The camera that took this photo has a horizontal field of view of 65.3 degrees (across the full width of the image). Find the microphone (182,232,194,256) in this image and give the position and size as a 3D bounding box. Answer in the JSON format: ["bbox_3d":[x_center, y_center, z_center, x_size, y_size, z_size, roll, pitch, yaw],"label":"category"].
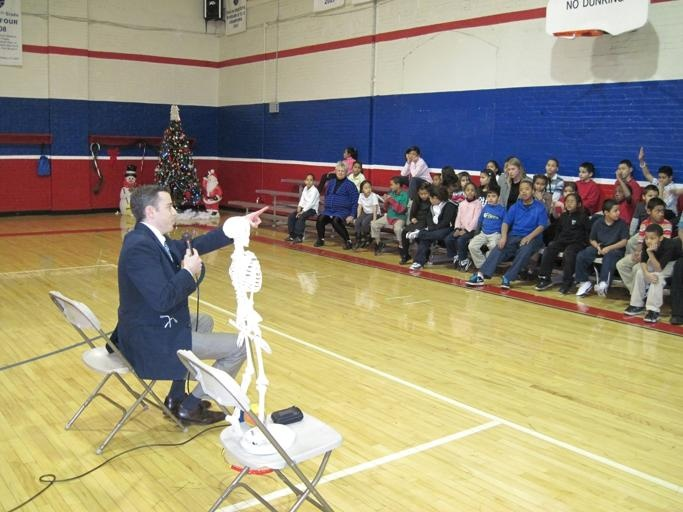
[{"bbox_3d":[-1.080,-0.092,3.743,0.067,0.165,0.351,-1,9,-16],"label":"microphone"}]

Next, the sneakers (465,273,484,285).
[{"bbox_3d":[2.088,0.370,8.263,0.138,0.160,0.359,4,-1,39],"label":"sneakers"}]

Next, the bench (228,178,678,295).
[{"bbox_3d":[2.838,-0.349,8.328,0.991,1.587,4.263,-7,13,-43],"label":"bench"}]

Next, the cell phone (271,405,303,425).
[{"bbox_3d":[-0.295,0.866,2.930,0.135,0.047,0.088,-8,28,-24],"label":"cell phone"}]

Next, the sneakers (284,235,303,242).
[{"bbox_3d":[-1.023,-0.380,11.657,0.443,0.170,0.145,5,3,-15],"label":"sneakers"}]

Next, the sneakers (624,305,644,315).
[{"bbox_3d":[3.816,0.708,6.917,0.291,0.126,0.105,-1,9,-23],"label":"sneakers"}]

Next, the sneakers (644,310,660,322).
[{"bbox_3d":[3.914,0.753,6.664,0.090,0.106,0.253,6,12,40],"label":"sneakers"}]

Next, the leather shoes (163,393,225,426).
[{"bbox_3d":[-1.124,1.232,4.152,0.350,0.123,0.280,2,9,-45],"label":"leather shoes"}]
